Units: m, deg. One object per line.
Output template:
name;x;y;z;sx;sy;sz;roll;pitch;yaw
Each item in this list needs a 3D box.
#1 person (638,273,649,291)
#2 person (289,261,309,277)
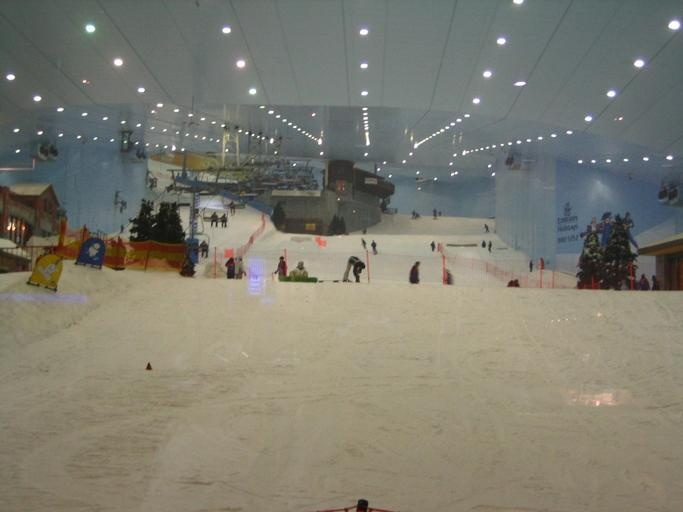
person;12.352;1.119;21.848;0.461;0.909;0.250;6;12;44
person;-1.693;0.538;20.348;0.500;0.766;0.395;3;-13;-13
